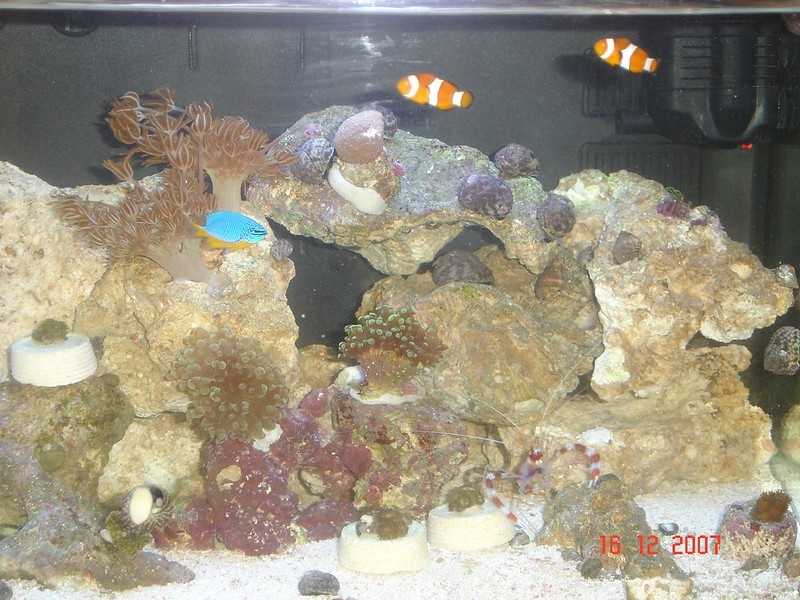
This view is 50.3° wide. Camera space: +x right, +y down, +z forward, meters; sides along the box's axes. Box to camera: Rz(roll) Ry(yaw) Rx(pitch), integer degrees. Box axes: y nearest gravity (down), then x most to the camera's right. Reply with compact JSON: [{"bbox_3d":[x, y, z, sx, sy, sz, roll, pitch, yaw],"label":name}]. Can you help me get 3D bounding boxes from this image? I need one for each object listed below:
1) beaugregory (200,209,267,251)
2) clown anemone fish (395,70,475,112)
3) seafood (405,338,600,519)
[{"bbox_3d":[-1.268,-0.485,6.227,0.257,0.347,0.615,-16,25,-42],"label":"beaugregory"},{"bbox_3d":[0.261,-1.645,6.767,0.506,0.313,0.567,-13,21,-43],"label":"clown anemone fish"},{"bbox_3d":[0.895,0.929,6.404,1.045,1.149,1.089,-2,13,-24],"label":"seafood"}]
